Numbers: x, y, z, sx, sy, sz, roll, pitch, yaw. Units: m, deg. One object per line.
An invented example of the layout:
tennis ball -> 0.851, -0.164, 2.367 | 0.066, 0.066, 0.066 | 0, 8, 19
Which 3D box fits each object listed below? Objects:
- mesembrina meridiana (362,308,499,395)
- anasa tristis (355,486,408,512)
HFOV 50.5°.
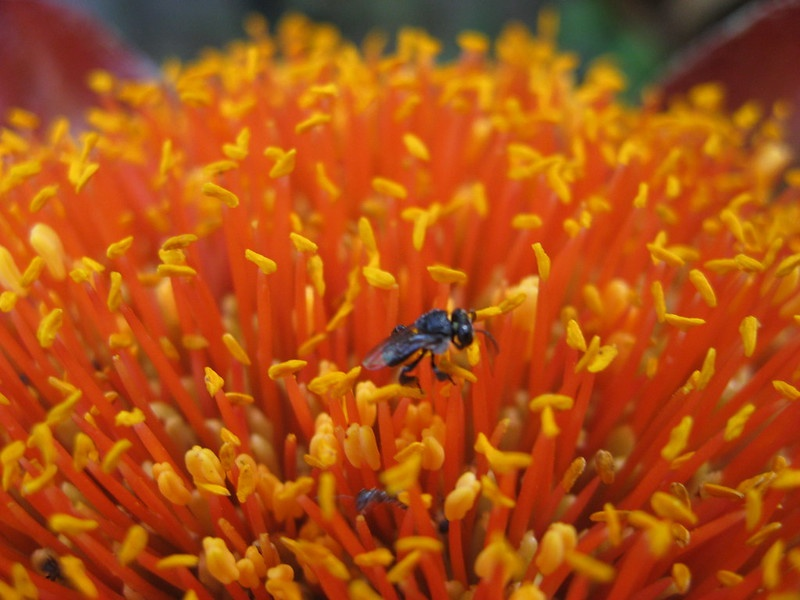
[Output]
mesembrina meridiana -> 0.032, 0.049, 1.037 | 0.157, 0.074, 0.109 | -7, 29, -7
anasa tristis -> -0.021, 0.227, 0.949 | 0.052, 0.016, 0.035 | 5, 49, -2
